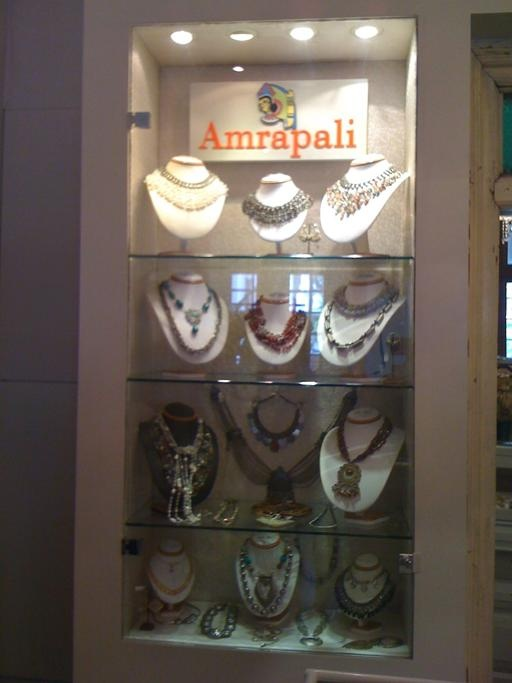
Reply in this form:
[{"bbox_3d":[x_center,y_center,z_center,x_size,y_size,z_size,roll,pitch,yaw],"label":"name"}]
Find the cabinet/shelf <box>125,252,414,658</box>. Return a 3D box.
[{"bbox_3d":[0.015,0.300,2.016,0.865,1.039,0.364,1,-4,-8],"label":"cabinet/shelf"}]
